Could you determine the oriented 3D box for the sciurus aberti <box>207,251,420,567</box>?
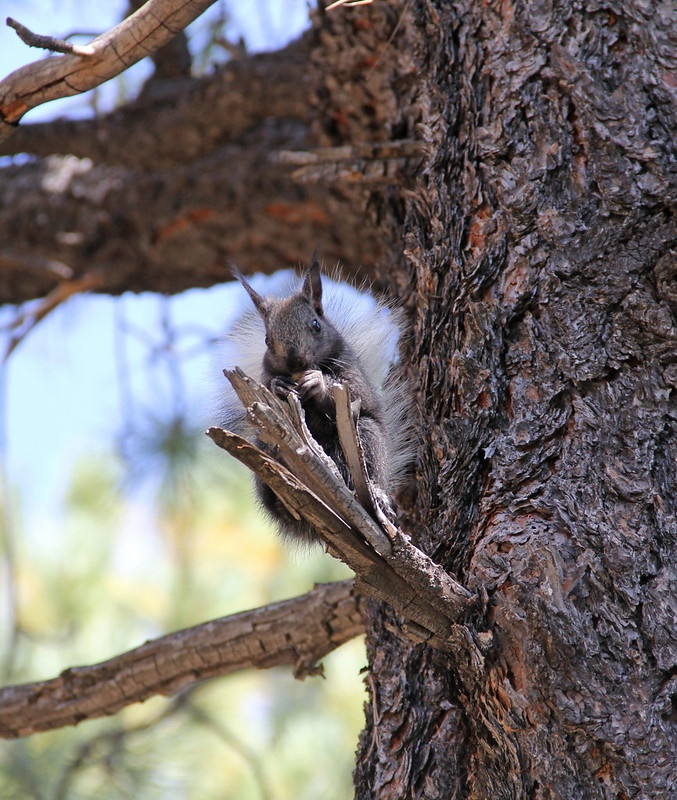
[{"bbox_3d":[-0.051,-0.019,5.400,0.690,0.821,1.081,-16,40,3],"label":"sciurus aberti"}]
